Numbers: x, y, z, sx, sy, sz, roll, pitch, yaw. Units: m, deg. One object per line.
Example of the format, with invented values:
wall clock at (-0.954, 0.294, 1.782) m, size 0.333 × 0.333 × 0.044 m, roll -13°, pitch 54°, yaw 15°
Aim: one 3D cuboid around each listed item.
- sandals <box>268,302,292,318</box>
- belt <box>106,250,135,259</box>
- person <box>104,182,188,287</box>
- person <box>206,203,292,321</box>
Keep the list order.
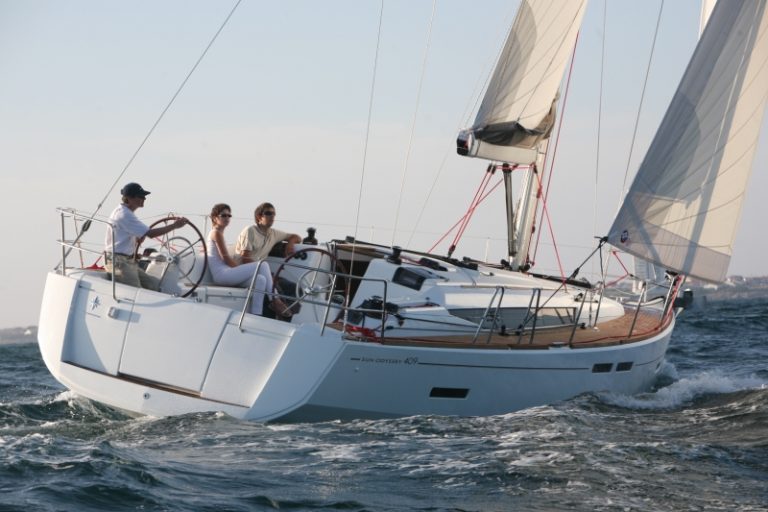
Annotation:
sandals at (-1.008, 0.525, 9.141) m, size 0.267 × 0.092 × 0.115 m, roll 14°, pitch 41°, yaw -33°
belt at (-2.528, -0.014, 9.151) m, size 0.276 × 0.045 × 0.143 m, roll 5°, pitch 3°, yaw -16°
person at (-2.339, -0.193, 9.179) m, size 0.628 × 0.786 × 0.425 m, roll 8°, pitch 3°, yaw -14°
person at (-1.258, 0.052, 9.279) m, size 0.720 × 0.889 × 1.033 m, roll 7°, pitch 3°, yaw -29°
